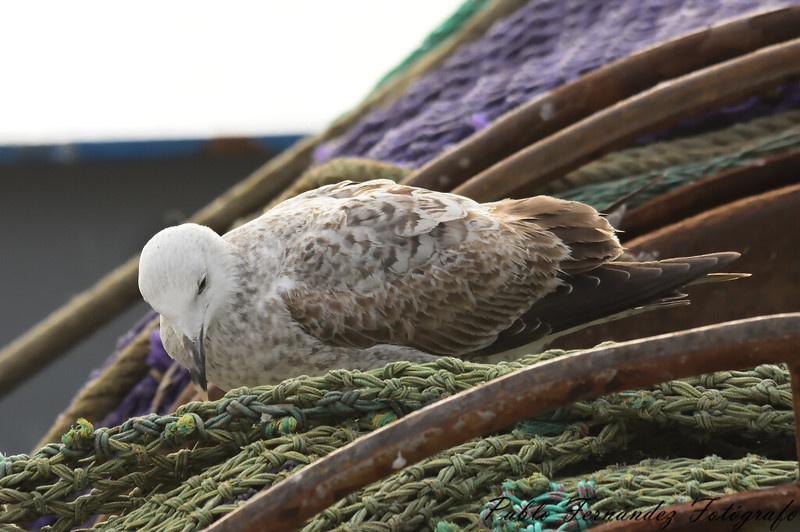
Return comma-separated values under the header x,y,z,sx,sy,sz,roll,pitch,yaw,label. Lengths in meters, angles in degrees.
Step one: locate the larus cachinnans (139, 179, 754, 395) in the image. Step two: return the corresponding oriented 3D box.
x,y,z,sx,sy,sz,roll,pitch,yaw,label
0.152,0.031,3.831,1.809,0.498,0.524,-14,6,-18,larus cachinnans
